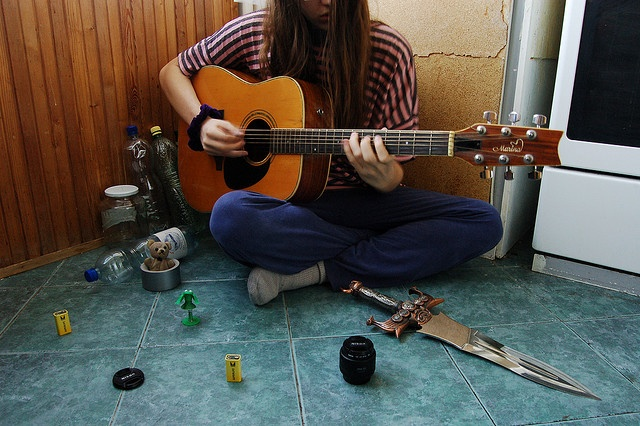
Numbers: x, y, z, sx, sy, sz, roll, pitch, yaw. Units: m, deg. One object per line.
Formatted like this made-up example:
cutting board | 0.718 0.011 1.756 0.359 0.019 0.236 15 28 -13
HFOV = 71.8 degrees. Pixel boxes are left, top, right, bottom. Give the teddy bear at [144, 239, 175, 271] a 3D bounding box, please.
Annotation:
teddy bear | -0.655 0.177 1.884 0.133 0.161 0.118 1 -10 -16

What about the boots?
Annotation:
boots | -0.132 0.257 1.790 0.281 0.099 0.156 -3 33 -33

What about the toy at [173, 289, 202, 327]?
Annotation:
toy | -0.503 0.365 1.675 0.112 0.149 0.085 -1 14 -4

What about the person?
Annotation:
person | 0.086 -0.238 1.827 1.070 1.140 0.652 -7 30 -9

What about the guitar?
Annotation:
guitar | 0.014 -0.235 1.729 1.503 0.597 0.311 12 27 26
